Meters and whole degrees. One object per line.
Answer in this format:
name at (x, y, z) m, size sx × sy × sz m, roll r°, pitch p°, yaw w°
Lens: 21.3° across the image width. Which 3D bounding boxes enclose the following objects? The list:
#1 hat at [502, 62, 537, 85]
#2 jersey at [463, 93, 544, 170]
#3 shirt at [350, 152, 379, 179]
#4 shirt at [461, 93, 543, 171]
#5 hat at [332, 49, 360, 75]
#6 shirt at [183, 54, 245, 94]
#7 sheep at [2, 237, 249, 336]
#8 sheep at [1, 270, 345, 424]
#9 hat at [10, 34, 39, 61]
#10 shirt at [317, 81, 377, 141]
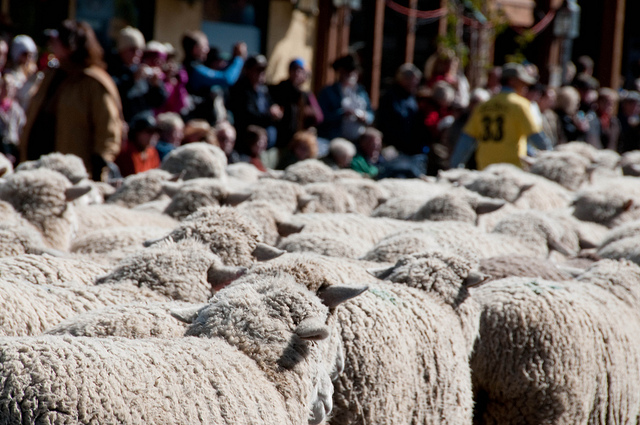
hat at (2.906, -2.074, 24.324) m, size 0.437 × 0.162 × 0.334 m, roll 23°, pitch -5°, yaw 11°
jersey at (2.644, -1.108, 24.088) m, size 0.372 × 1.019 × 1.111 m, roll -6°, pitch 9°, yaw -43°
shirt at (0.728, -0.731, 25.602) m, size 0.442 × 0.263 × 0.458 m, roll 11°, pitch 8°, yaw 1°
shirt at (2.629, -1.105, 24.110) m, size 1.111 × 0.957 × 0.330 m, roll 7°, pitch 12°, yaw 44°
hat at (0.445, -2.283, 26.253) m, size 0.399 × 0.338 × 0.403 m, roll 11°, pitch 8°, yaw 0°
shirt at (-1.523, -2.061, 25.502) m, size 0.902 × 0.640 × 0.434 m, roll 7°, pitch 9°, yaw -29°
sheep at (-2.301, 0.912, 19.573) m, size 2.341 × 1.143 × 1.166 m, roll -7°, pitch 9°, yaw -18°
sheep at (-1.744, 1.410, 18.938) m, size 2.855 × 2.114 × 1.681 m, roll 6°, pitch 0°, yaw -25°
hat at (-4.259, -2.364, 24.688) m, size 0.346 × 0.337 × 0.381 m, roll 7°, pitch 9°, yaw -27°
shirt at (0.513, -1.456, 26.378) m, size 0.885 × 1.136 × 0.693 m, roll -6°, pitch 10°, yaw -25°
